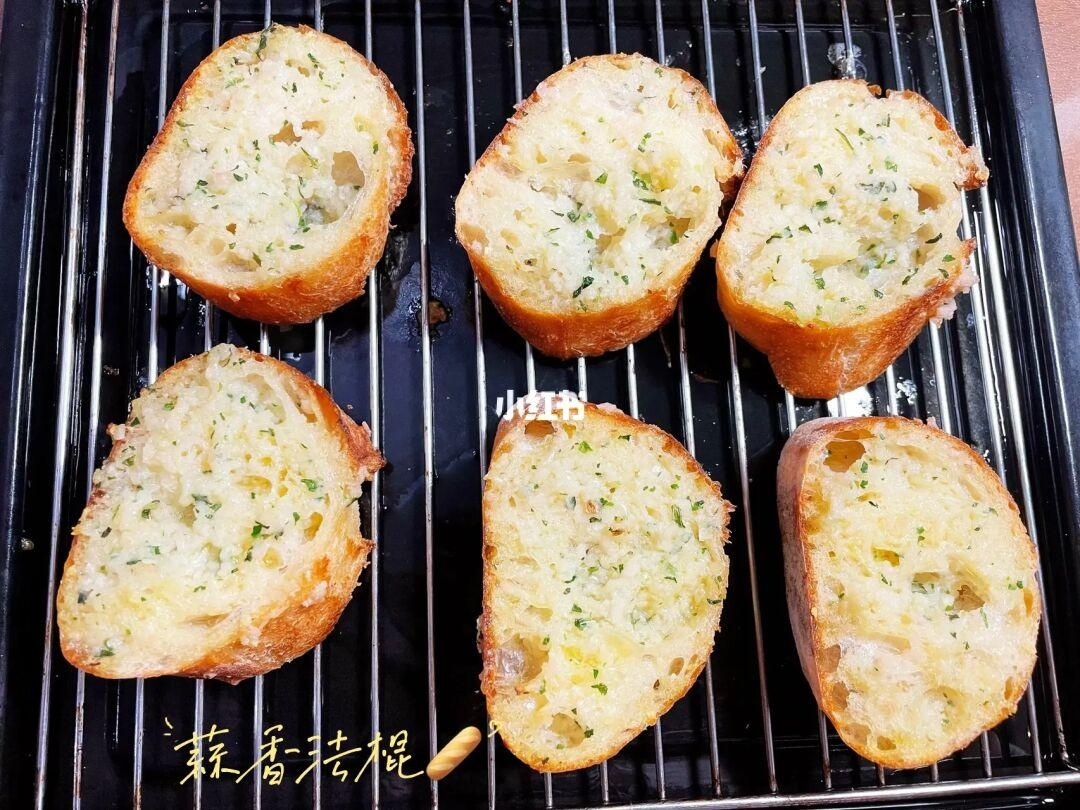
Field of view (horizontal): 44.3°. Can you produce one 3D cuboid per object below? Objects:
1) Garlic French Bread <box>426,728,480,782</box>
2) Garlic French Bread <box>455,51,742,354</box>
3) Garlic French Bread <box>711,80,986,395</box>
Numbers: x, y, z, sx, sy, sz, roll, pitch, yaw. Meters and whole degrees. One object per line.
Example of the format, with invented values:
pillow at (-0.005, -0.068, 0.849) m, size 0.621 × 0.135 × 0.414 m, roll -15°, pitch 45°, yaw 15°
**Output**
Garlic French Bread at (-0.174, 0.721, 2.802) m, size 0.147 × 0.047 × 0.067 m, roll -42°, pitch 90°, yaw -16°
Garlic French Bread at (0.132, -0.431, 2.792) m, size 0.483 × 0.301 × 0.611 m, roll 36°, pitch 74°, yaw 10°
Garlic French Bread at (0.634, -0.346, 2.732) m, size 0.467 × 0.303 × 0.664 m, roll 14°, pitch 90°, yaw 2°
